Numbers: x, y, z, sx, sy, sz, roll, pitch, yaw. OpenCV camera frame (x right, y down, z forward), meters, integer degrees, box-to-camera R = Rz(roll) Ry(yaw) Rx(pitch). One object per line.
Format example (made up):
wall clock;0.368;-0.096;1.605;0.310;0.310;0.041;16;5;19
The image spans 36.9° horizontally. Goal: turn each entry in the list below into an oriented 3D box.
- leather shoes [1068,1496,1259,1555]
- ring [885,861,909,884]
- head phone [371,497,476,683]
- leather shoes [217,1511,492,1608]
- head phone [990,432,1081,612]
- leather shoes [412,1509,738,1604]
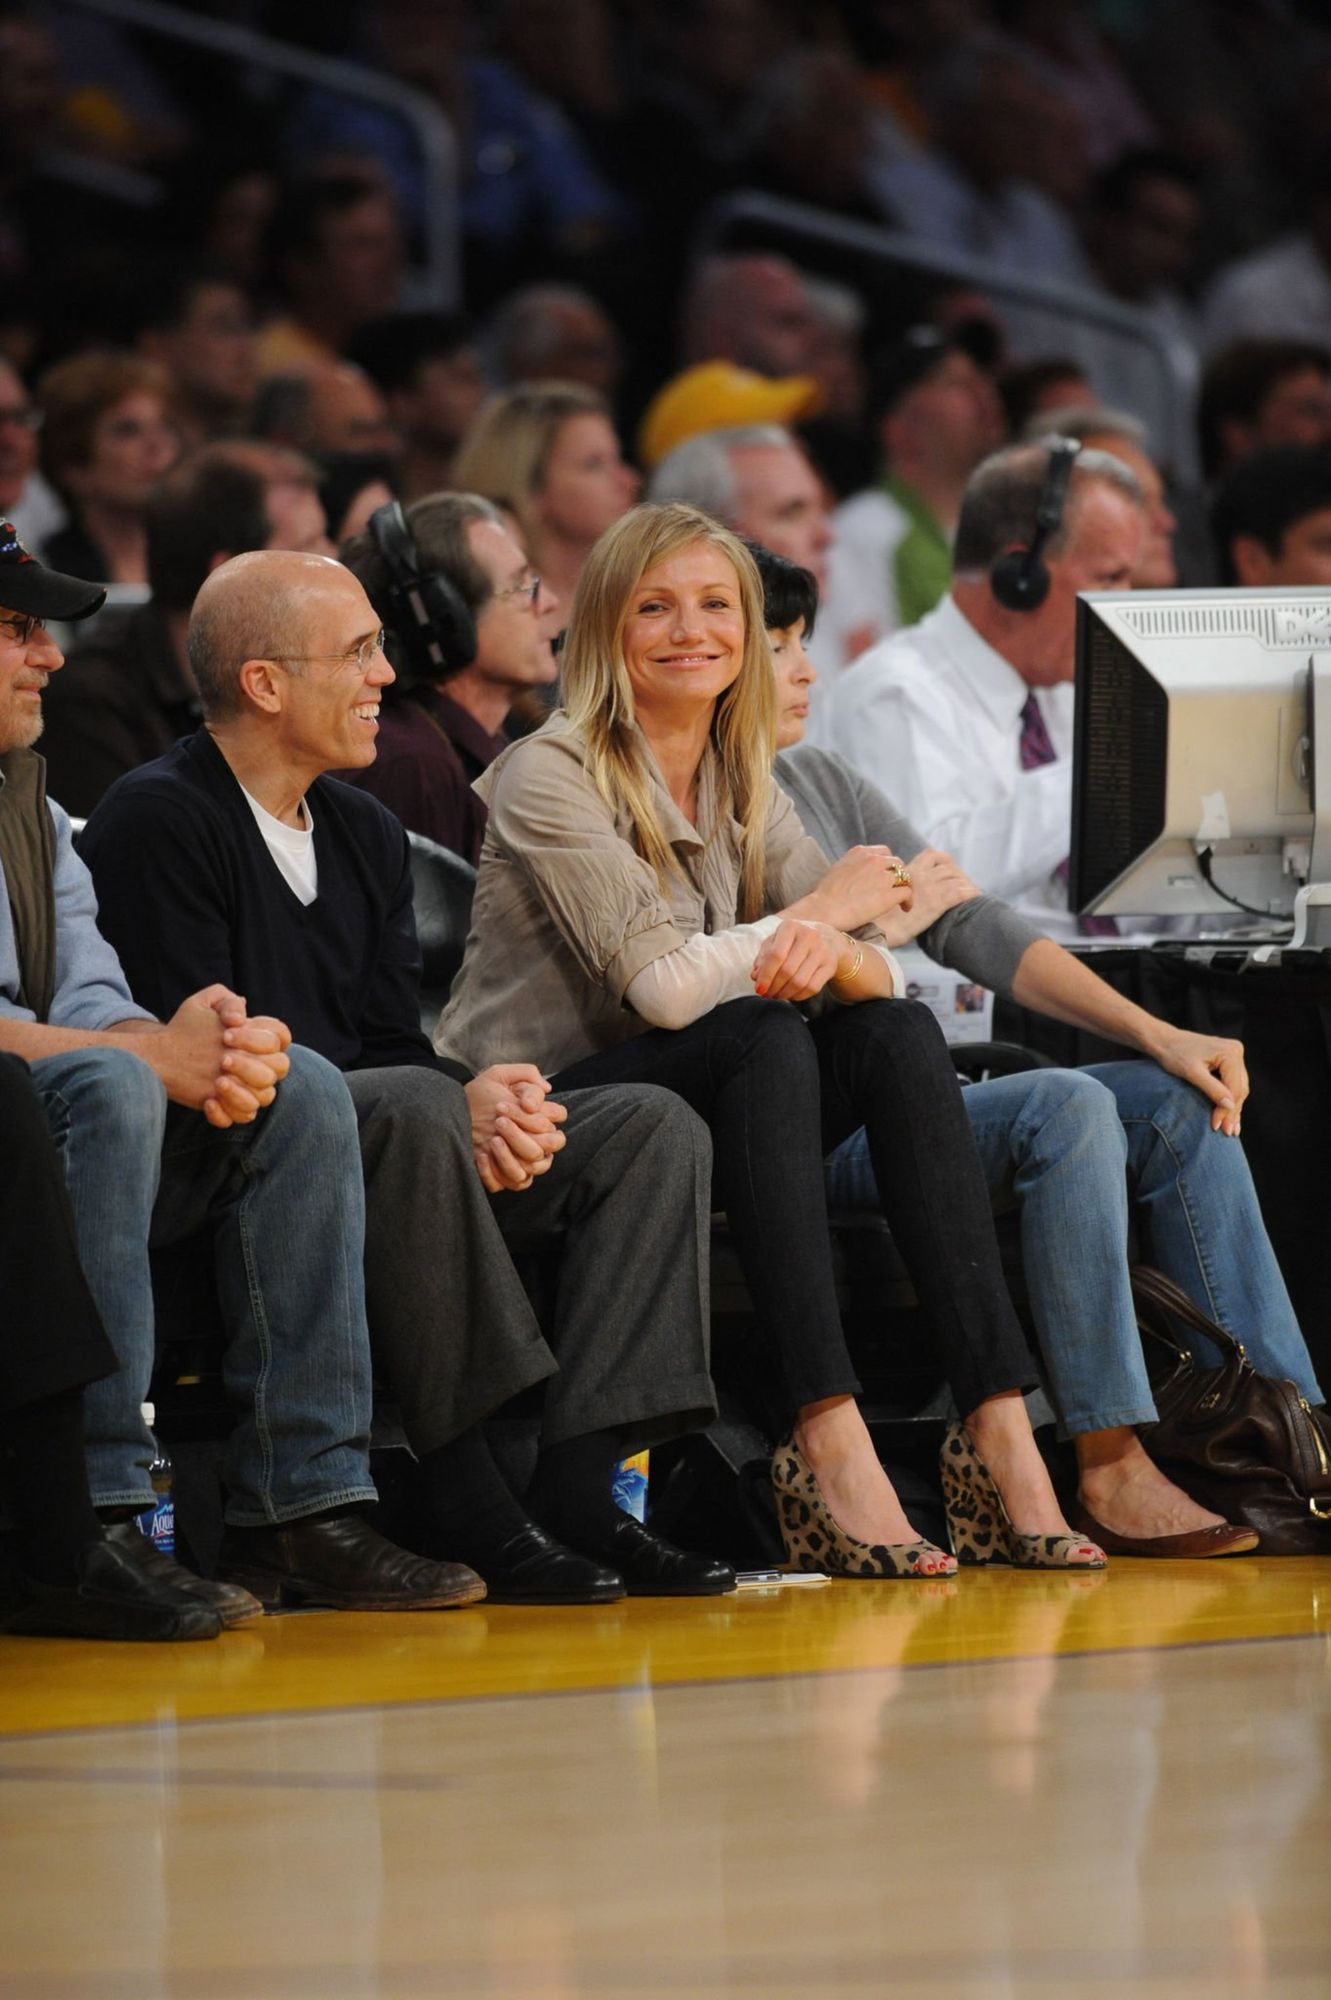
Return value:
leather shoes;0.558;0.584;2.232;0.197;0.067;0.062;-6;-7;18
ring;0.275;-0.150;2.338;0.013;0.026;0.028;-5;3;0
head phone;-0.414;-0.685;3.324;0.140;0.283;0.303;-18;11;-1
leather shoes;-0.288;0.527;1.886;0.266;0.080;0.092;0;-1;11
head phone;0.586;-0.742;3.140;0.125;0.278;0.323;15;33;3
leather shoes;-0.083;0.529;1.910;0.311;0.095;0.106;-1;-5;3
